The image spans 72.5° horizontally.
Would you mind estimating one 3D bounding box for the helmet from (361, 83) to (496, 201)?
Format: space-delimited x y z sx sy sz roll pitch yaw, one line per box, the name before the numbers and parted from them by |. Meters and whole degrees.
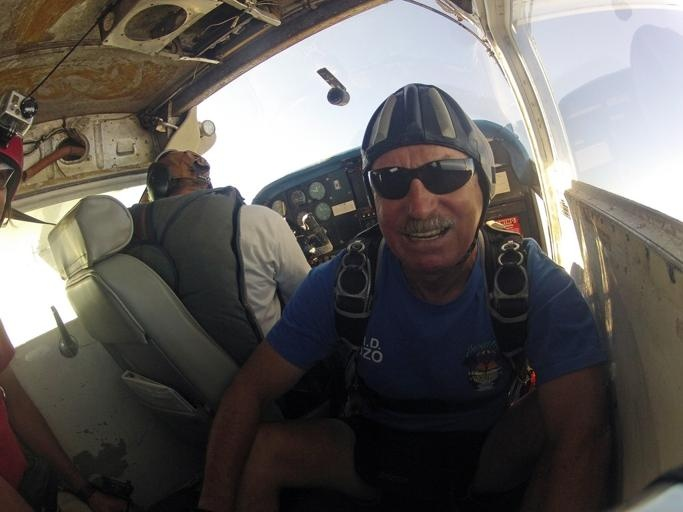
helmet | 0.289 -0.361 1.588 0.310 0.442 0.274 -13 35 23
